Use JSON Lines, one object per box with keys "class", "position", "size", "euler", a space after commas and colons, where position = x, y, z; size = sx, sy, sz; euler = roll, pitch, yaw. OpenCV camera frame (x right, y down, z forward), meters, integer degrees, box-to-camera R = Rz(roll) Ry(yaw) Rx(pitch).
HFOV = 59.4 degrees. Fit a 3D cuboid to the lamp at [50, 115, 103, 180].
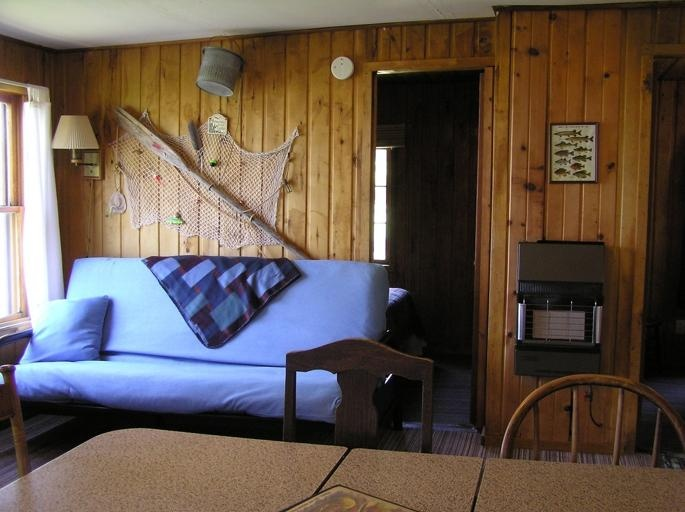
{"class": "lamp", "position": [-1.956, -0.791, 4.456], "size": [0.301, 0.488, 0.328], "euler": [1, 13, -2]}
